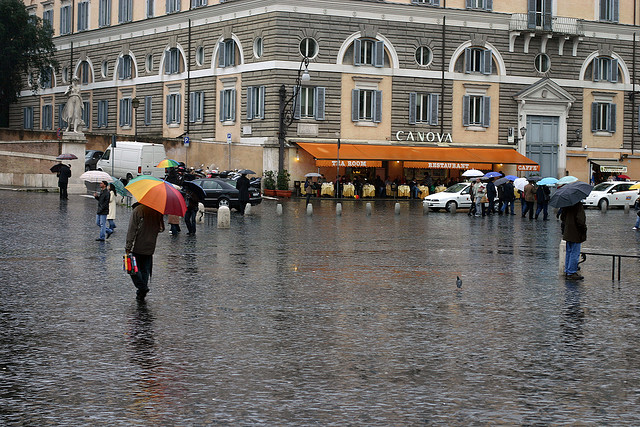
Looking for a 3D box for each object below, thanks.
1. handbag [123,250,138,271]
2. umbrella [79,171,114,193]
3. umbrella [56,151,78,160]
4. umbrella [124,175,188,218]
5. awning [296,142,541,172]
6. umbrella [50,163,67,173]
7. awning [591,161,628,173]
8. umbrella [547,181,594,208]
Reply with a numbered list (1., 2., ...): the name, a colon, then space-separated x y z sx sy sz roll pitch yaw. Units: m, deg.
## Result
1. handbag: -3.966 0.996 21.049 0.262 0.415 0.298 -1 9 -15
2. umbrella: -7.053 -1.015 31.575 0.736 0.433 0.737 4 1 -4
3. umbrella: -12.486 -2.797 49.563 0.744 0.290 1.294 1 9 0
4. umbrella: -3.455 -0.334 21.139 1.191 0.764 0.836 0 9 -9
5. awning: 5.683 -3.186 57.746 14.043 1.684 2.161 -3 10 -23
6. umbrella: -12.134 -2.128 46.567 0.748 0.461 0.720 -1 -3 7
7. awning: 18.495 -2.974 63.468 2.366 0.694 0.898 -4 10 -28
8. umbrella: 6.020 -0.446 24.116 0.873 0.581 0.924 5 10 24
